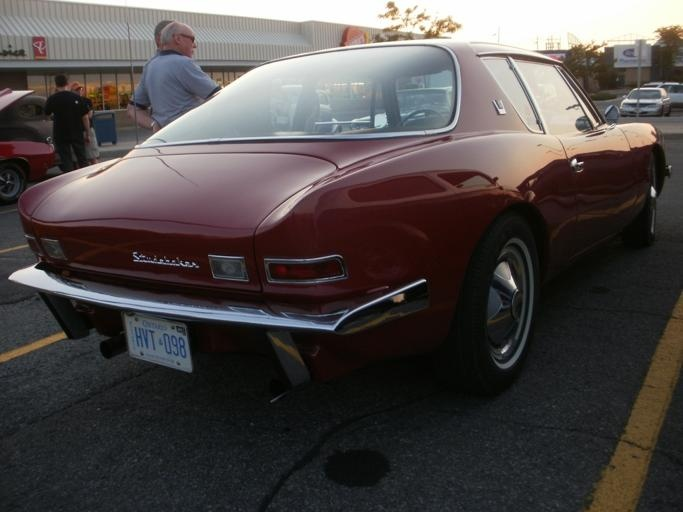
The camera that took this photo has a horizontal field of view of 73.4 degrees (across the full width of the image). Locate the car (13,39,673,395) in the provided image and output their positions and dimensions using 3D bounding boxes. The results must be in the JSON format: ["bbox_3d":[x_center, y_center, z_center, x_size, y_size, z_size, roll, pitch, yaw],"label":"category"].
[{"bbox_3d":[0.636,-0.314,2.963,1.819,1.144,3.791,6,17,41],"label":"car"}]

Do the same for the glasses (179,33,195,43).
[{"bbox_3d":[-1.605,-2.251,4.753,0.115,0.030,0.112,10,19,17],"label":"glasses"}]
